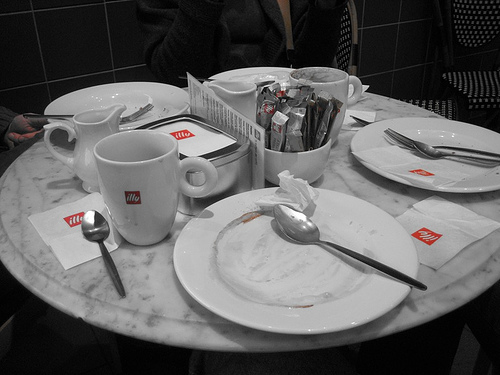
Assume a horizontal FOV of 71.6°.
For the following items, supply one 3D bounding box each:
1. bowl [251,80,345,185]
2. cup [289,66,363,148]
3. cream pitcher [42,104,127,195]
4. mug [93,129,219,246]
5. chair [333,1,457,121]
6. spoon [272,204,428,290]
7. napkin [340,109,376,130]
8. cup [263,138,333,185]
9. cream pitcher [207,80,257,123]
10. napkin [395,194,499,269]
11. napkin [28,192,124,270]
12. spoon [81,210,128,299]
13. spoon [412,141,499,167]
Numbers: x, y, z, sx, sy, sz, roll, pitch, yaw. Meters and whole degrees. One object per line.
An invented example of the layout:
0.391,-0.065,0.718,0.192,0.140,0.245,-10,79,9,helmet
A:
0.078,-0.098,0.740,0.162,0.196,0.156,2,30,-1,bowl
0.191,-0.208,0.863,0.161,0.163,0.132,2,18,11,cup
-0.328,-0.072,0.705,0.148,0.169,0.102,-4,22,-12,cream pitcher
-0.149,0.006,0.595,0.190,0.160,0.130,0,25,-5,mug
0.738,-0.643,1.788,0.675,0.565,0.447,0,34,-1,chair
0.142,0.091,0.549,0.260,0.035,0.050,25,42,30,spoon
0.299,-0.194,0.982,0.089,0.026,0.088,12,43,15,napkin
0.094,-0.049,0.682,0.096,0.055,0.098,-3,23,1,cup
-0.041,-0.194,0.774,0.104,0.070,0.118,-4,35,-6,cream pitcher
0.331,0.068,0.615,0.182,0.013,0.121,-18,40,-24,napkin
-0.307,0.078,0.622,0.122,0.018,0.127,-22,55,-30,napkin
-0.227,0.102,0.543,0.045,0.029,0.226,1,25,-35,spoon
0.466,-0.074,0.784,0.157,0.025,0.027,12,64,16,spoon
